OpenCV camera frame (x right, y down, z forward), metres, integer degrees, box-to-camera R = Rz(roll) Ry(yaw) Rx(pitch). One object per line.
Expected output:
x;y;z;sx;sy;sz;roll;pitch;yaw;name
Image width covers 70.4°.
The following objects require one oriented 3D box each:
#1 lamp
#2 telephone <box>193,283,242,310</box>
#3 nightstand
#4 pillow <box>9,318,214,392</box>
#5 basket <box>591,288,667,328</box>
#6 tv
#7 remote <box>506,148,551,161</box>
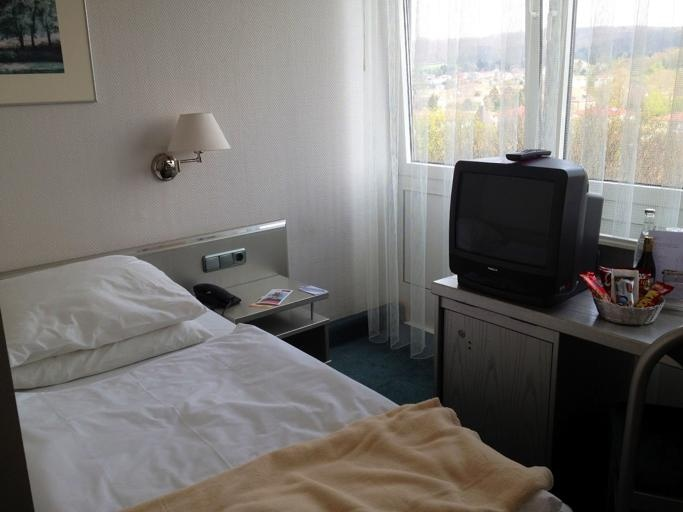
-0.837;-0.600;2.720;0.406;0.389;0.337;-4;16;-9;lamp
-0.729;0.224;2.768;0.188;0.070;0.160;26;29;34;telephone
-0.479;0.478;3.170;0.529;0.644;0.683;-14;16;-36;nightstand
-0.958;0.416;2.056;0.640;0.111;0.392;-20;2;-32;pillow
1.116;0.197;1.865;0.143;0.060;0.150;-9;15;-23;basket
0.851;-0.161;2.275;0.615;0.617;0.637;6;21;36;tv
0.824;-0.443;2.131;0.136;0.040;0.251;11;22;33;remote
